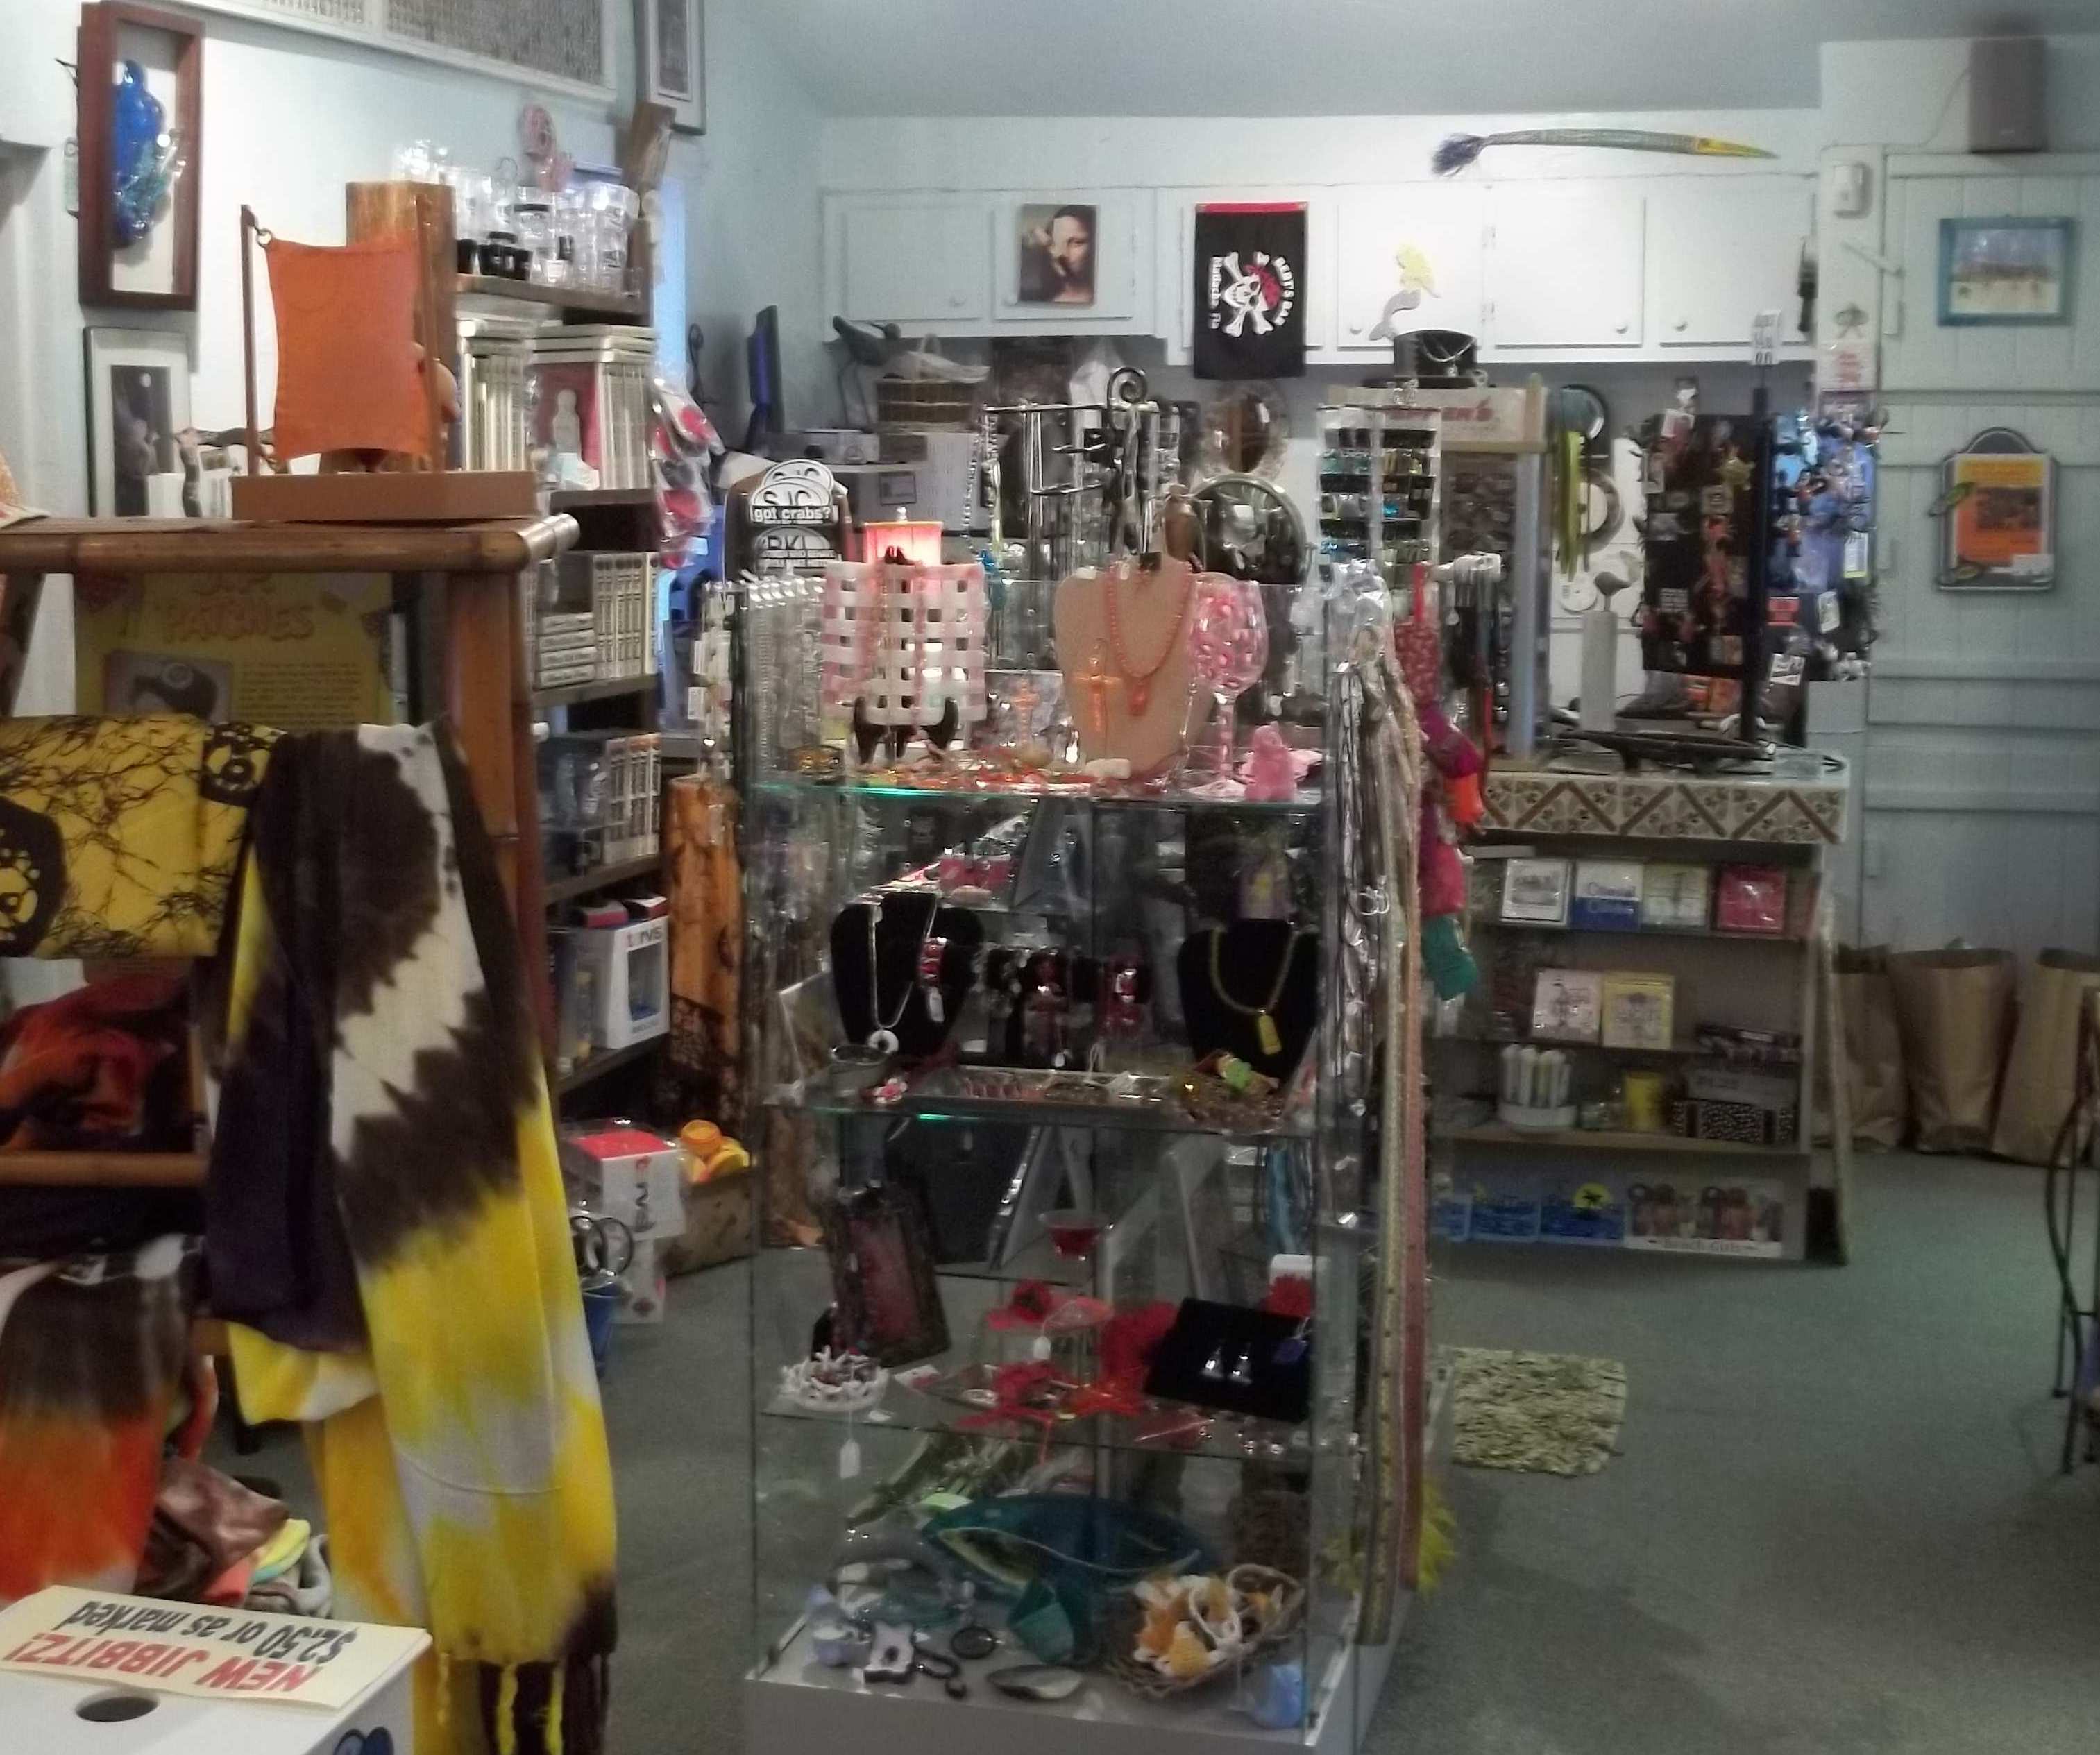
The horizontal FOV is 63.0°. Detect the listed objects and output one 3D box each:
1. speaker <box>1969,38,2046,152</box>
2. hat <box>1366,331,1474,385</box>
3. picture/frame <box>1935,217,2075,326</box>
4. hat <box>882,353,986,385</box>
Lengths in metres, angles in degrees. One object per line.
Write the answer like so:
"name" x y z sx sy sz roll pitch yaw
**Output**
"speaker" 3.499 -2.842 6.226 0.307 0.397 0.119 -1 8 -14
"hat" 1.018 -1.402 4.650 0.240 0.112 0.230 -3 11 4
"picture/frame" 3.523 -2.236 6.276 0.445 0.343 0.045 1 5 8
"hat" -0.457 -1.855 6.369 0.346 0.093 0.325 -1 15 -4
